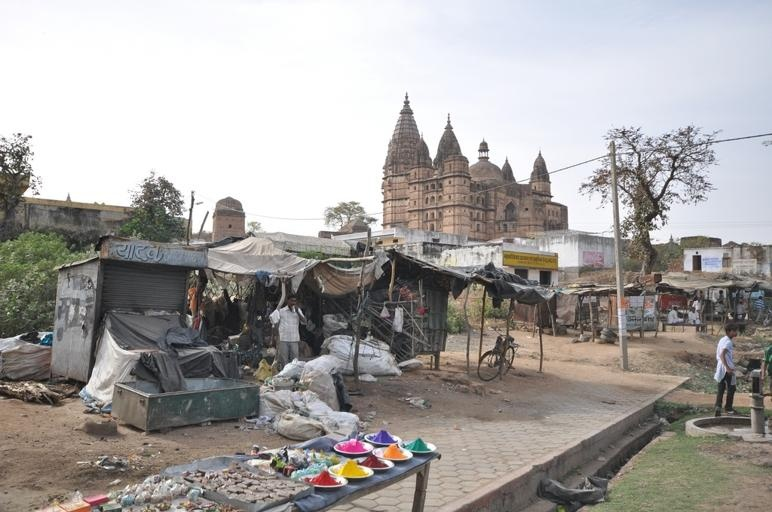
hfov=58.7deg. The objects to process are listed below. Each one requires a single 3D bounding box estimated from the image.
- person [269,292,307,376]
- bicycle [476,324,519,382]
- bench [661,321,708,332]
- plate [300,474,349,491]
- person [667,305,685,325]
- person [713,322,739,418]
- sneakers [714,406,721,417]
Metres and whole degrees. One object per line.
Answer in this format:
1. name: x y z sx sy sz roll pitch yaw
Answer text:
1. person: -2.383 1.843 16.565 0.784 1.783 1.059 3 -5 -7
2. bicycle: 3.238 2.957 20.037 0.904 1.097 1.923 7 -4 36
3. bench: 14.120 3.382 32.394 1.906 0.429 3.703 -1 -6 24
4. plate: -0.857 3.272 9.961 0.335 0.123 0.332 -2 -6 18
5. person: 13.586 2.822 32.021 0.765 0.804 2.528 0 -6 23
6. person: 7.702 2.559 15.541 0.427 2.034 1.053 0 -5 26
7. sneakers: 7.383 3.458 15.203 0.174 0.223 0.169 0 1 -1
